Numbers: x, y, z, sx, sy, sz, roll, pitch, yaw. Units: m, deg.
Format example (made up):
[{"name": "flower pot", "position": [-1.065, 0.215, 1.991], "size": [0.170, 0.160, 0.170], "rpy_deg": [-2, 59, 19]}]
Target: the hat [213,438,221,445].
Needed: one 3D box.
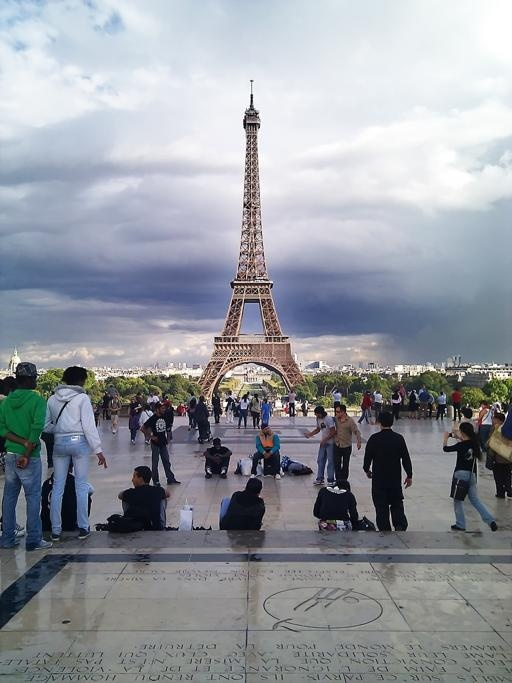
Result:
[{"name": "hat", "position": [-0.893, 2.318, 13.356], "size": [0.151, 0.168, 0.406], "rpy_deg": [2, -4, -11]}]

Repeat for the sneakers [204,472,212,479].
[{"name": "sneakers", "position": [-1.049, 2.976, 12.980], "size": [0.135, 0.137, 0.233], "rpy_deg": [1, -4, -5]}]

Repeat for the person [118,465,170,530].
[{"name": "person", "position": [-1.409, 1.951, 7.283], "size": [0.584, 0.763, 0.430], "rpy_deg": [2, -4, -17]}]

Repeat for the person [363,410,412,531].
[{"name": "person", "position": [1.678, 1.668, 7.458], "size": [0.575, 1.514, 0.451], "rpy_deg": [0, -4, 10]}]

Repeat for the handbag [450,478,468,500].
[{"name": "handbag", "position": [2.631, 1.922, 7.520], "size": [0.240, 0.316, 0.294], "rpy_deg": [0, -4, 19]}]

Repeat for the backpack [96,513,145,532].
[{"name": "backpack", "position": [-1.649, 2.211, 7.057], "size": [0.421, 0.145, 0.297], "rpy_deg": [1, -10, 9]}]

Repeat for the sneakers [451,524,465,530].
[{"name": "sneakers", "position": [2.652, 2.445, 7.654], "size": [0.163, 0.064, 0.058], "rpy_deg": [5, -4, 30]}]

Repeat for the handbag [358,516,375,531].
[{"name": "handbag", "position": [1.428, 2.408, 7.552], "size": [0.186, 0.089, 0.238], "rpy_deg": [-3, 19, -11]}]

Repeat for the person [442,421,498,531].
[{"name": "person", "position": [2.942, 1.877, 8.056], "size": [0.634, 1.537, 1.654], "rpy_deg": [0, -4, 19]}]

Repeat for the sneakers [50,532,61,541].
[{"name": "sneakers", "position": [-2.302, 2.252, 6.724], "size": [0.051, 0.061, 0.149], "rpy_deg": [2, -1, -5]}]

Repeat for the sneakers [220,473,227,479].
[{"name": "sneakers", "position": [-0.719, 3.006, 13.089], "size": [0.080, 0.147, 0.157], "rpy_deg": [2, 3, 2]}]
